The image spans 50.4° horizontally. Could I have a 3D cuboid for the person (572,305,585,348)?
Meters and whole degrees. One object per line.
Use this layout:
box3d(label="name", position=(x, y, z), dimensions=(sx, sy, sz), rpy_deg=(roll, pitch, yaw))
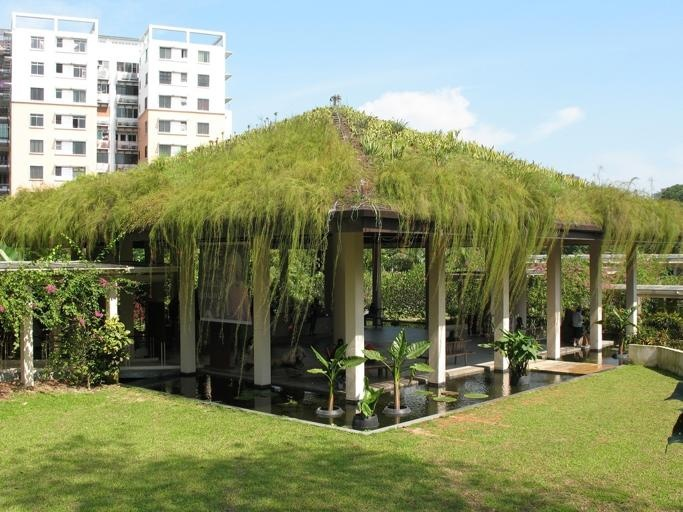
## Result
box3d(label="person", position=(7.691, 2.359, 23.534), dimensions=(0.314, 1.106, 1.110), rpy_deg=(0, -3, 18))

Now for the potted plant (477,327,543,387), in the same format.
box3d(label="potted plant", position=(4.132, 2.357, 17.420), dimensions=(1.161, 1.201, 1.365), rpy_deg=(1, -2, -29))
